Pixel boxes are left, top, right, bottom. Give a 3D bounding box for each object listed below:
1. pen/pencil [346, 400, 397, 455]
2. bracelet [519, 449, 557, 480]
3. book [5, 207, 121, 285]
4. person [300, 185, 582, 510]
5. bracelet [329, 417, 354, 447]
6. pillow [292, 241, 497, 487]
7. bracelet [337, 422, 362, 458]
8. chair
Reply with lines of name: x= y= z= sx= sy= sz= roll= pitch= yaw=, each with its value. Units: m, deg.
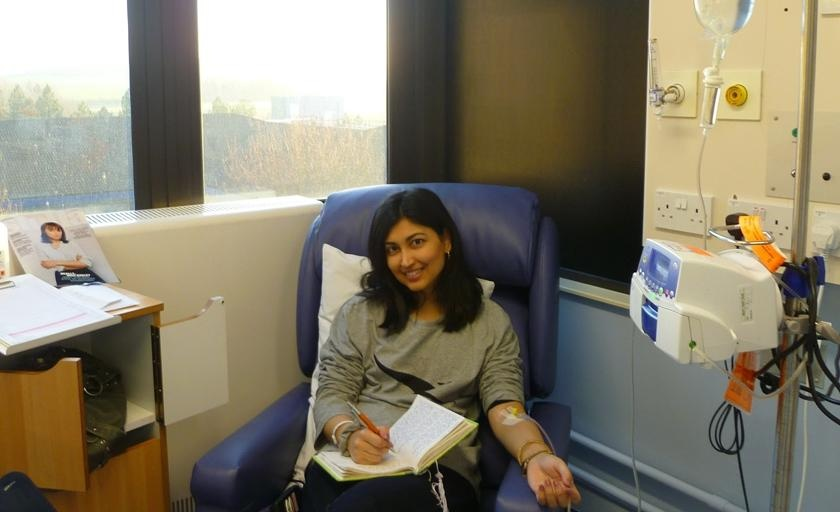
pen/pencil: x=-0.168 y=0.582 z=2.032 sx=0.021 sy=0.202 sz=0.026 roll=-40 pitch=2 yaw=-37
bracelet: x=0.367 y=0.666 z=1.938 sx=0.068 sy=0.081 sz=0.034 roll=3 pitch=-25 yaw=32
book: x=-1.283 y=-0.026 z=2.132 sx=0.267 sy=0.357 sz=0.017 roll=-15 pitch=-31 yaw=-37
person: x=-0.007 y=0.354 z=2.454 sx=1.017 sy=1.438 sz=1.137 roll=-2 pitch=-1 yaw=1
bracelet: x=-0.276 y=0.582 z=2.029 sx=0.057 sy=0.084 sz=0.080 roll=-4 pitch=9 yaw=-39
pillow: x=-0.164 y=0.387 z=2.515 sx=0.681 sy=0.991 sz=0.818 roll=4 pitch=1 yaw=3
bracelet: x=-0.233 y=0.611 z=2.004 sx=0.074 sy=0.098 sz=0.040 roll=-5 pitch=-23 yaw=40
chair: x=0.033 y=0.214 z=2.370 sx=1.176 sy=1.431 sz=1.179 roll=2 pitch=4 yaw=13
